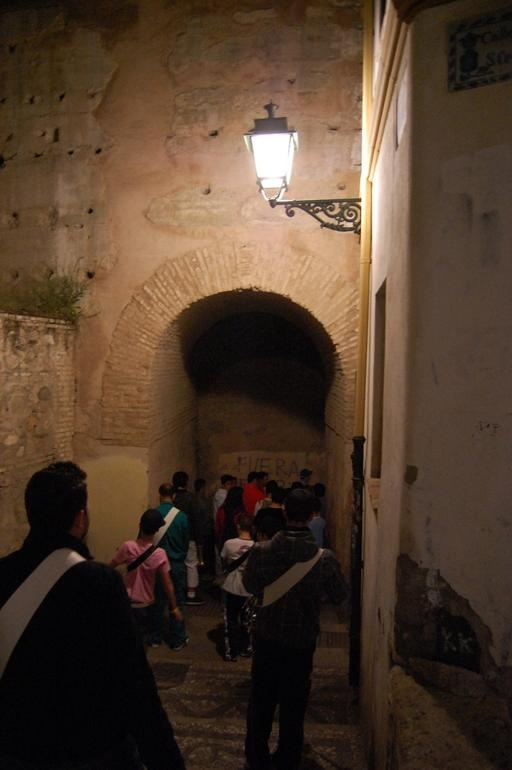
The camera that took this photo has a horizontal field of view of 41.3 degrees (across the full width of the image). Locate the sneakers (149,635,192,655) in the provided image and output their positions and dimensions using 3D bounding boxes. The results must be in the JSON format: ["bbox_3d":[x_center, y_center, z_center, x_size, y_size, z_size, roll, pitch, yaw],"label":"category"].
[{"bbox_3d":[-0.683,2.077,5.401,0.311,0.139,0.107,-4,0,-21],"label":"sneakers"}]

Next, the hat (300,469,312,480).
[{"bbox_3d":[0.554,1.034,7.806,0.112,0.105,0.194,2,15,22],"label":"hat"}]

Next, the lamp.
[{"bbox_3d":[0.323,-1.398,4.400,0.769,0.905,0.293,-1,2,6],"label":"lamp"}]

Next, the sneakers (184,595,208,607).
[{"bbox_3d":[-0.571,2.103,6.605,0.260,0.118,0.099,3,-7,-6],"label":"sneakers"}]
